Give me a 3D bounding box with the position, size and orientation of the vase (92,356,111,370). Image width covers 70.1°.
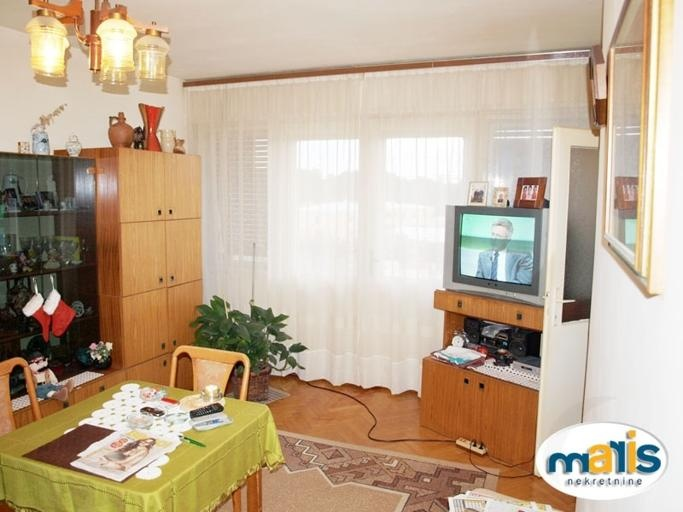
[{"bbox_3d":[-1.965,0.880,4.003,0.114,0.084,0.121,3,4,32],"label":"vase"}]

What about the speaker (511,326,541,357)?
[{"bbox_3d":[1.411,0.665,3.737,0.183,0.328,0.250,1,5,6],"label":"speaker"}]

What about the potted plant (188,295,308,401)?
[{"bbox_3d":[-0.882,0.848,4.622,0.889,0.916,1.074,1,-3,38],"label":"potted plant"}]

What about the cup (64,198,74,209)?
[{"bbox_3d":[-2.127,-0.413,3.800,0.049,0.086,0.091,-1,-1,5],"label":"cup"}]

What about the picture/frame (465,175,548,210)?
[{"bbox_3d":[1.258,-0.498,3.794,0.690,0.222,0.253,8,13,42],"label":"picture/frame"}]

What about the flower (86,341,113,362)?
[{"bbox_3d":[-1.974,0.744,3.990,0.169,0.138,0.158,-15,18,-29],"label":"flower"}]

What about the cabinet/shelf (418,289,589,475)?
[{"bbox_3d":[1.141,0.873,3.375,0.676,1.212,1.246,-1,3,-43],"label":"cabinet/shelf"}]

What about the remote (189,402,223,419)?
[{"bbox_3d":[-0.672,0.772,2.440,0.110,0.015,0.059,-7,15,-33],"label":"remote"}]
